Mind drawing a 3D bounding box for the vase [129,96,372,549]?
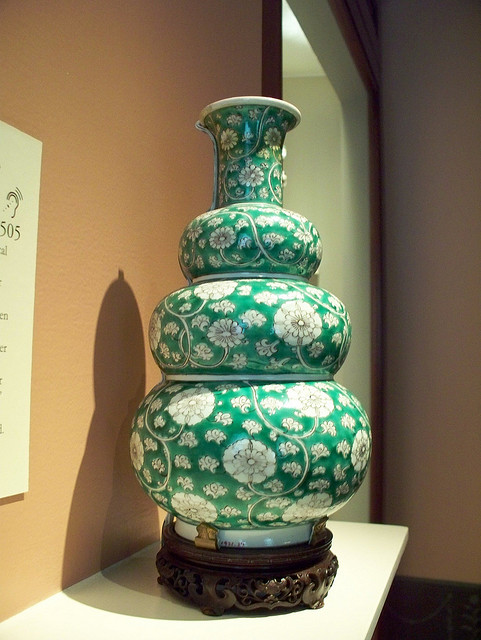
[{"bbox_3d":[0.012,-0.019,0.622,0.225,0.463,0.186,-1,-6,16],"label":"vase"}]
